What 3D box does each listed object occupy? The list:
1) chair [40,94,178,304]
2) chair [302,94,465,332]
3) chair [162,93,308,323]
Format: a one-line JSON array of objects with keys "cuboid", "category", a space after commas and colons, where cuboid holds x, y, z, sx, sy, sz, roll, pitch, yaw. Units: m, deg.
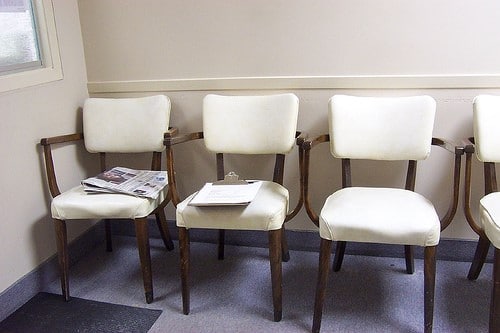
[{"cuboid": [-0.884, 0.159, 2.691, 0.747, 1.224, 0.762, 1, 11, 4], "category": "chair"}, {"cuboid": [0.748, 0.245, 2.416, 0.878, 1.268, 0.793, 2, 19, 7], "category": "chair"}, {"cuboid": [-0.085, 0.191, 2.561, 0.836, 1.251, 0.783, 2, 19, 7], "category": "chair"}]
